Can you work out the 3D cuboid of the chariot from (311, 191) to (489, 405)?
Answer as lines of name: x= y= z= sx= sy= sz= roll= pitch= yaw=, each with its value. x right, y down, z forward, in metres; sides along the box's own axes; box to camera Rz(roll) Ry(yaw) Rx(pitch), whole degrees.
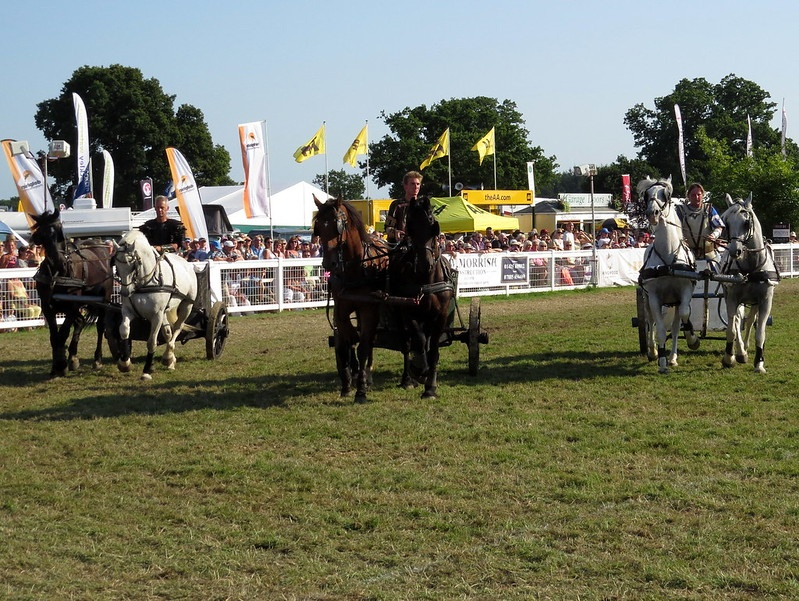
chariot: x=0.020 y=-0.038 z=18.460 sx=1.433 sy=1.993 sz=3.637 roll=-1 pitch=-2 yaw=8

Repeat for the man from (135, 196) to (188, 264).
man: x=-3.870 y=-1.073 z=20.127 sx=0.837 sy=1.143 sz=0.610 roll=-1 pitch=-1 yaw=10

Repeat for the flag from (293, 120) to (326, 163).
flag: x=-2.651 y=-4.625 z=36.872 sx=0.850 sy=1.013 sz=1.706 roll=-3 pitch=3 yaw=-5

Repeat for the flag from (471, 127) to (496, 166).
flag: x=2.989 y=-5.767 z=45.563 sx=0.588 sy=1.033 sz=1.629 roll=-2 pitch=3 yaw=13

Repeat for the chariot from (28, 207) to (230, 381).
chariot: x=-4.238 y=0.033 z=20.594 sx=1.926 sy=2.028 sz=3.472 roll=-4 pitch=-15 yaw=13

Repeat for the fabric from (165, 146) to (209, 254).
fabric: x=-5.195 y=-2.316 z=31.140 sx=0.603 sy=2.804 sz=0.219 roll=-11 pitch=7 yaw=1
